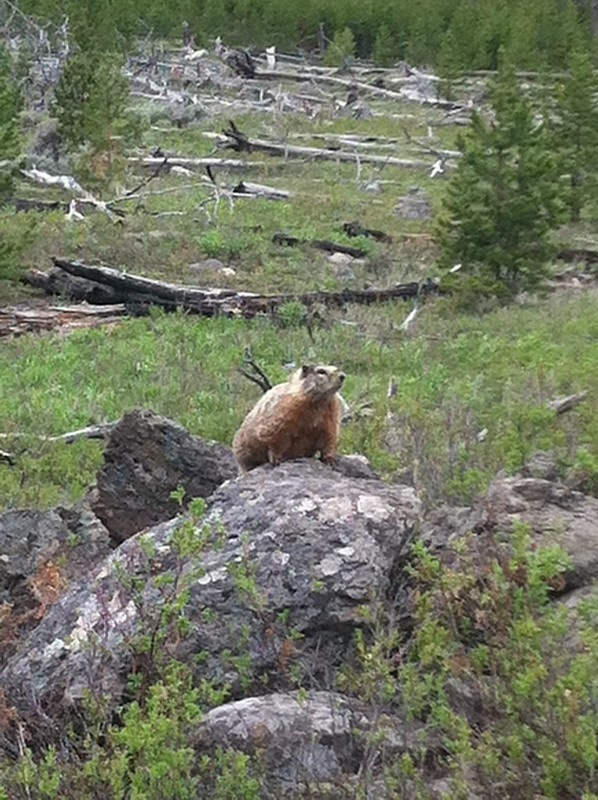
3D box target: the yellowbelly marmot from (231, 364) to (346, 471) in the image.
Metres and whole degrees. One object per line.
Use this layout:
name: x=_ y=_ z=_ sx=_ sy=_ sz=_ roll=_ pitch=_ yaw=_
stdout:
yellowbelly marmot: x=-0.058 y=0.282 z=18.214 sx=0.773 sy=1.490 sz=0.966 roll=2 pitch=54 yaw=-46
